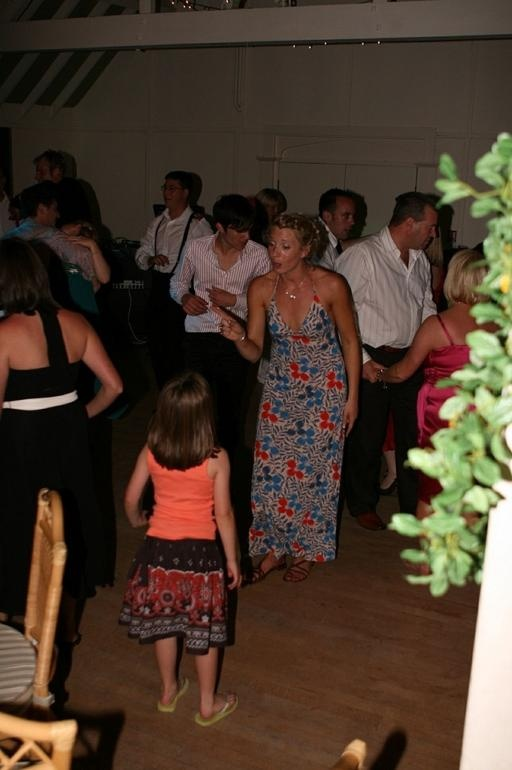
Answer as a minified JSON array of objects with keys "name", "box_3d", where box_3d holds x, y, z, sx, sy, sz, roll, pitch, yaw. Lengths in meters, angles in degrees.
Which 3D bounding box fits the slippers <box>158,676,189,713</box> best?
[{"name":"slippers","box_3d":[-0.321,1.204,2.313,0.054,0.052,0.125,5,64,15]}]

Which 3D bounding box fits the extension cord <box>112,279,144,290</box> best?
[{"name":"extension cord","box_3d":[-1.631,-1.286,7.686,0.429,0.123,0.193,0,36,-8]}]
